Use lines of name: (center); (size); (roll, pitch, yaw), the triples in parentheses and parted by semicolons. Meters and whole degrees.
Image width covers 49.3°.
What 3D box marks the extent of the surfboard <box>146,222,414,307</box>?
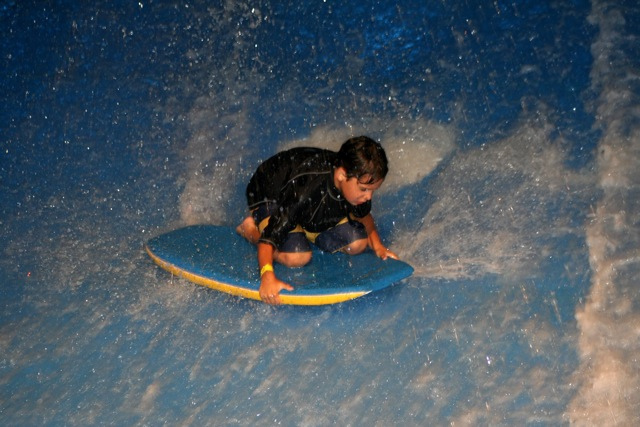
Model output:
surfboard: (-0.492, 0.475, 6.301); (1.981, 0.305, 0.978); (12, 29, 23)
